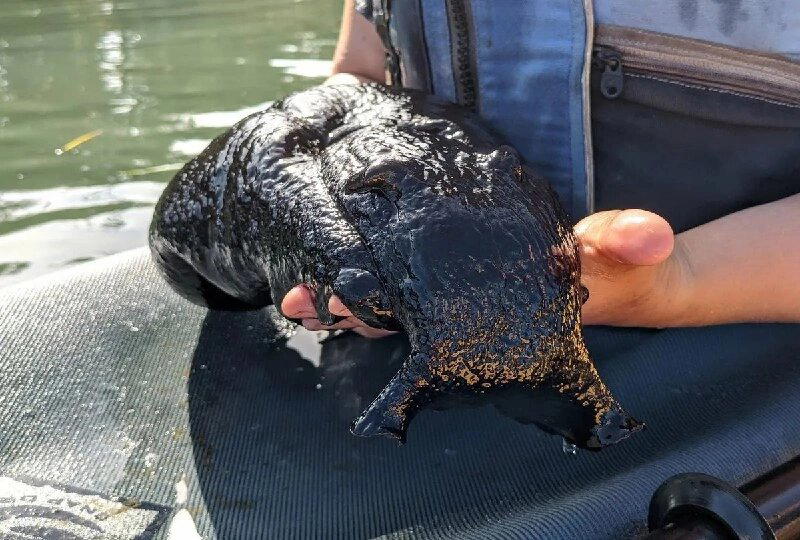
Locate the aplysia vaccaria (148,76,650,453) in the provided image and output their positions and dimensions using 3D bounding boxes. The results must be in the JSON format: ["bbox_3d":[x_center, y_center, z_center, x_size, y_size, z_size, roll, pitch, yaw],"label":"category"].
[{"bbox_3d":[0.033,-0.123,1.717,0.844,0.339,1.111,-21,34,-12],"label":"aplysia vaccaria"}]
